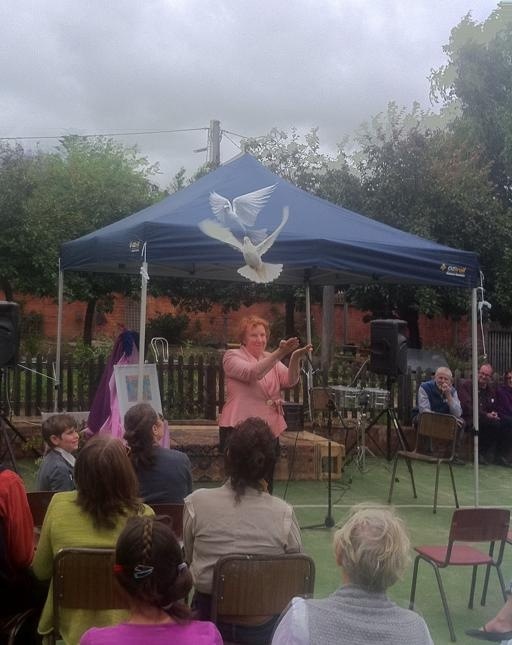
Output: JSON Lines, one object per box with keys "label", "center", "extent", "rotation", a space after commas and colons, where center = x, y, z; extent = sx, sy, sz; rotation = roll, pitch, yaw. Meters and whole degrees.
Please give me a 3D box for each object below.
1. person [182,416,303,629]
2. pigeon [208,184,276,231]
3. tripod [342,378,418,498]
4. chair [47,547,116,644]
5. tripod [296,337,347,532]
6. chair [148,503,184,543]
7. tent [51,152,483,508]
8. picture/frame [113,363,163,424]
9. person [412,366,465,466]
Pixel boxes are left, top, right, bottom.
{"label": "person", "center": [-0.061, 0.913, 4.012], "extent": [0.439, 1.204, 0.617], "rotation": [4, 16, 0]}
{"label": "pigeon", "center": [-0.149, -0.898, 6.672], "extent": [0.403, 0.357, 0.359], "rotation": [-4, -42, 19]}
{"label": "tripod", "center": [1.271, 1.160, 9.574], "extent": [0.867, 1.428, 0.847], "rotation": [-6, -6, 42]}
{"label": "chair", "center": [-0.704, 1.099, 3.518], "extent": [0.211, 0.441, 0.259], "rotation": [0, 5, -7]}
{"label": "tripod", "center": [0.668, 1.170, 8.929], "extent": [0.547, 2.242, 1.031], "rotation": [0, -8, 12]}
{"label": "chair", "center": [-0.461, 1.019, 4.391], "extent": [0.166, 0.174, 0.188], "rotation": [-2, -1, 20]}
{"label": "tent", "center": [-0.135, -0.498, 7.879], "extent": [2.971, 3.345, 3.204], "rotation": [1, -4, -32]}
{"label": "picture/frame", "center": [-0.968, 0.559, 6.903], "extent": [0.023, 0.651, 0.474], "rotation": [-18, -14, 32]}
{"label": "person", "center": [2.007, 0.948, 9.403], "extent": [0.462, 0.978, 0.507], "rotation": [1, 4, 25]}
